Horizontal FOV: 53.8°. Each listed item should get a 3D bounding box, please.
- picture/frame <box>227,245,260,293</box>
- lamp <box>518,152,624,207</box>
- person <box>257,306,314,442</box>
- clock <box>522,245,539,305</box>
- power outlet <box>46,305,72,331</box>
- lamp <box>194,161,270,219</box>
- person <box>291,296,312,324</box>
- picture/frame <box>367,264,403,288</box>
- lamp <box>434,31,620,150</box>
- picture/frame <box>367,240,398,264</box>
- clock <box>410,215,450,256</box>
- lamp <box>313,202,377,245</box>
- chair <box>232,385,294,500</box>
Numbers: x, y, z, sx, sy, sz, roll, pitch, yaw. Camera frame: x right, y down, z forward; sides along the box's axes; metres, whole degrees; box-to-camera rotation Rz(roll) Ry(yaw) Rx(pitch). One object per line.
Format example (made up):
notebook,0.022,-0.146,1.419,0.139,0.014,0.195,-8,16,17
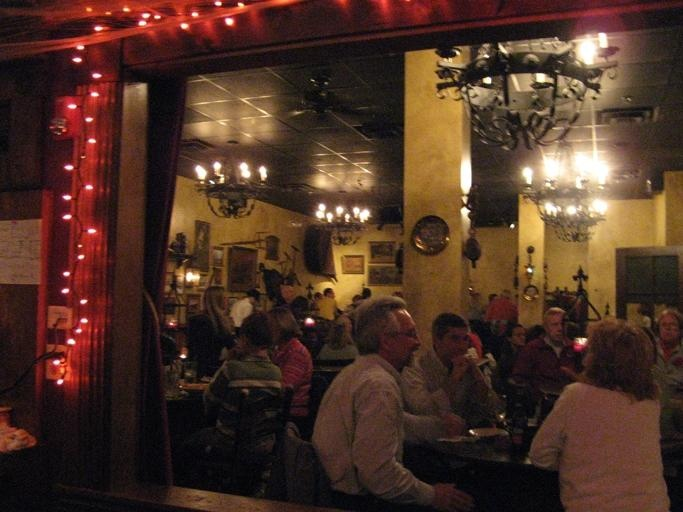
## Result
picture/frame,-1.984,0.287,13.637,0.130,0.894,1.342,4,-3,-31
lamp,2.471,-0.870,7.321,1.219,0.556,1.186,-1,-3,28
person,-0.441,0.910,5.073,0.424,1.033,0.440,1,-44,-5
clock,3.846,0.355,13.698,0.298,1.139,0.305,1,-3,19
power outlet,-1.669,0.366,3.977,0.174,0.145,0.086,0,-4,8
lamp,-1.295,-0.796,7.752,0.776,0.445,0.741,-4,-8,30
person,-0.872,1.085,13.733,0.488,0.729,0.488,0,-3,4
picture/frame,1.148,0.522,17.795,0.775,0.428,0.052,2,-1,24
lamp,1.144,-1.191,4.639,1.147,0.686,1.041,1,-3,-6
picture/frame,1.100,-0.117,17.970,0.720,0.516,0.054,3,8,18
clock,0.839,-0.195,6.347,0.317,0.354,0.061,0,-3,25
lamp,0.026,-0.626,12.116,1.155,0.670,1.107,-2,5,-38
chair,-0.542,1.243,4.489,0.380,0.688,0.241,2,-3,-5
